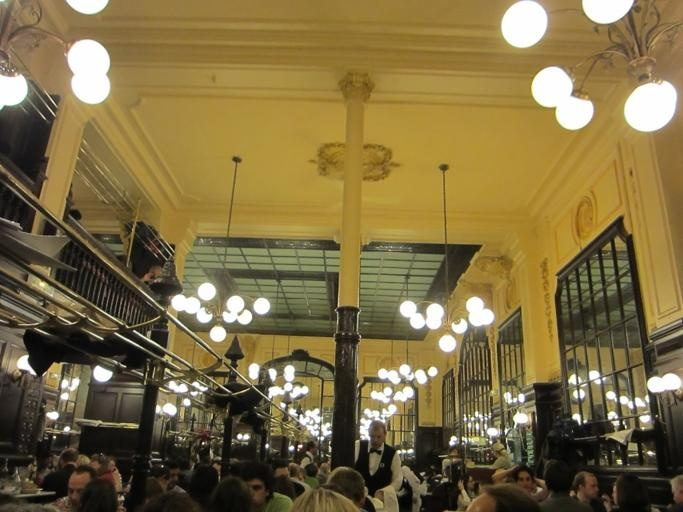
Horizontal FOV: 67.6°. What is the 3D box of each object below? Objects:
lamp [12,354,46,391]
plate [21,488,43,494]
[{"bbox_3d":[-4.852,1.777,7.968,0.229,0.330,0.746,7,-25,-8],"label":"lamp"},{"bbox_3d":[-4.214,3.185,6.868,0.261,0.065,0.271,1,-23,6],"label":"plate"}]
